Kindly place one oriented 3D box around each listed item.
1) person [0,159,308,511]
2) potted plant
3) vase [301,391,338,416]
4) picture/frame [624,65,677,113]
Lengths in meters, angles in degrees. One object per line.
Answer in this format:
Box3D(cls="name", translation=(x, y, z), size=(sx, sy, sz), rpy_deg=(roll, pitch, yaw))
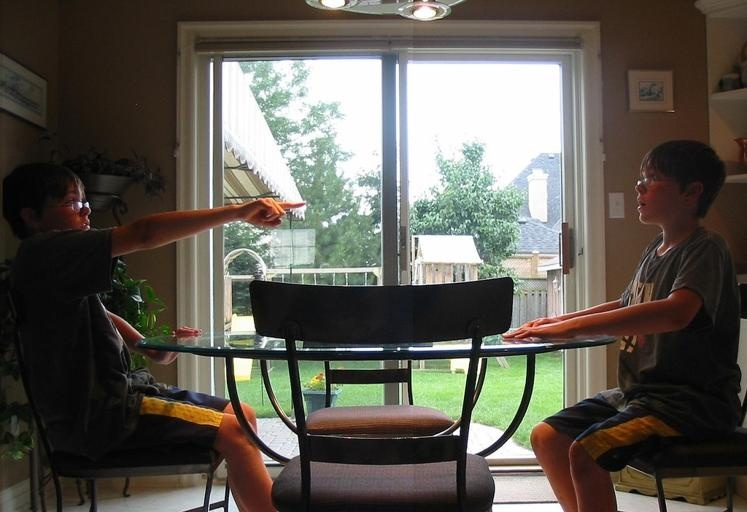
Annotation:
Box3D(cls="person", translation=(-0.914, 0.271, 3.399), size=(1.554, 1.933, 0.960), rpy_deg=(-3, -2, -23))
Box3D(cls="potted plant", translation=(-1.476, -0.437, 3.634), size=(0.563, 0.275, 0.480), rpy_deg=(12, -13, -40))
Box3D(cls="vase", translation=(-0.307, 0.844, 3.770), size=(0.240, 0.189, 0.211), rpy_deg=(0, -9, 3))
Box3D(cls="picture/frame", translation=(1.644, -0.978, 3.901), size=(0.272, 0.268, 0.027), rpy_deg=(2, -2, -7))
